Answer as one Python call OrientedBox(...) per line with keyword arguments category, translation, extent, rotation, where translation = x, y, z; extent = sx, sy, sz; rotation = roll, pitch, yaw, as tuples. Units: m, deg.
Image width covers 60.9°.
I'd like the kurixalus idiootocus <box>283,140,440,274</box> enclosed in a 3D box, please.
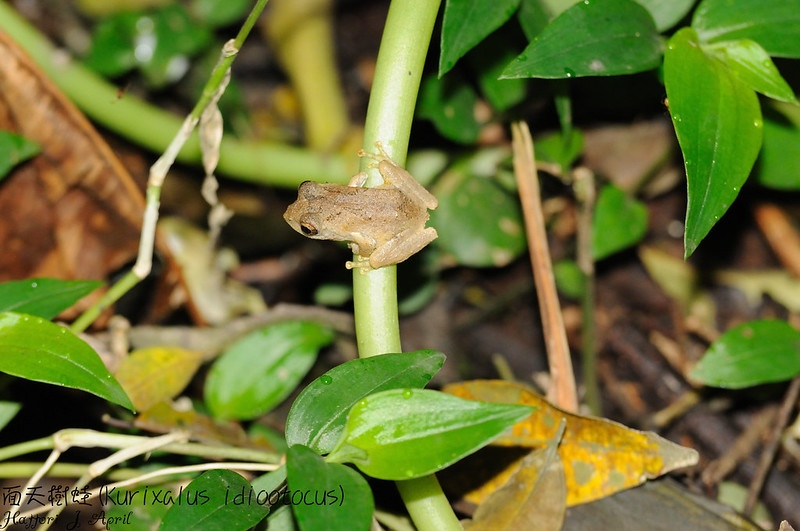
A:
OrientedBox(category="kurixalus idiootocus", translation=(-0.141, -0.157, 2.349), extent=(0.460, 0.191, 0.513), rotation=(-10, 42, -2))
